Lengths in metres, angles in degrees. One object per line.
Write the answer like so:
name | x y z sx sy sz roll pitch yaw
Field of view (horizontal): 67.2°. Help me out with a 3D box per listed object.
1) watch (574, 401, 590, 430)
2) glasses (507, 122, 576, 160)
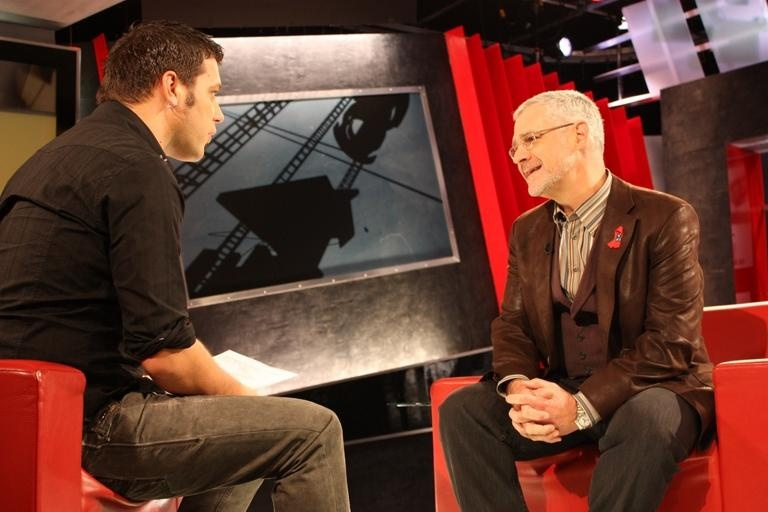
watch | 0.680 0.549 1.978 0.020 0.079 0.065 -30 -25 27
glasses | 0.654 -0.498 2.408 0.168 0.044 0.158 -26 0 -30
